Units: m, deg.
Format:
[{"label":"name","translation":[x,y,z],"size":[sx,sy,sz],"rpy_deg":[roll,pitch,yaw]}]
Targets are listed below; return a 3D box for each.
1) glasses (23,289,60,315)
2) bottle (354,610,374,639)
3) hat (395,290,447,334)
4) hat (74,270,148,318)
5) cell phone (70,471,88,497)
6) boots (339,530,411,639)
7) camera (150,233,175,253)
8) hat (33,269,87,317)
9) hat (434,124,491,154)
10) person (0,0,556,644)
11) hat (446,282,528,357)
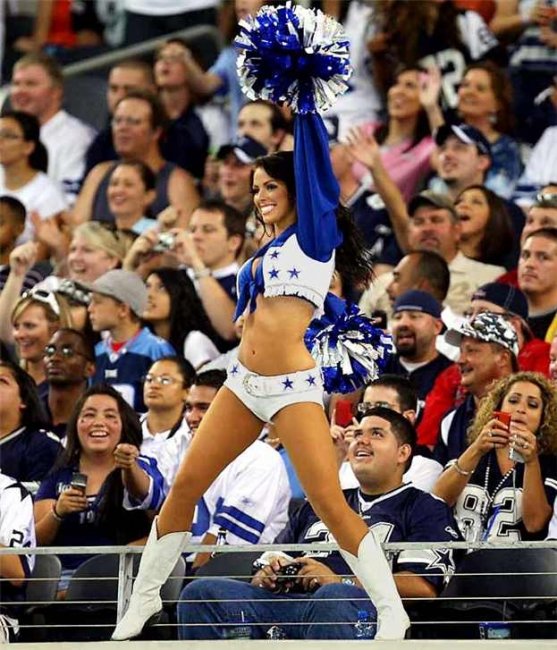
[{"label":"glasses","translation":[-1.432,-0.149,8.089],"size":[0.193,0.171,0.058],"rpy_deg":[-1,5,25]},{"label":"bottle","translation":[0.353,1.223,5.437],"size":[0.089,0.108,0.035],"rpy_deg":[2,2,2]},{"label":"hat","translation":[0.788,-0.078,7.545],"size":[0.191,0.176,0.248],"rpy_deg":[15,13,17]},{"label":"hat","translation":[-0.978,-0.206,7.819],"size":[0.361,0.194,0.224],"rpy_deg":[26,1,-23]},{"label":"cell phone","translation":[-0.943,0.744,6.211],"size":[0.088,0.102,0.114],"rpy_deg":[9,-11,-21]},{"label":"boots","translation":[0.373,1.032,5.221],"size":[0.204,0.394,0.372],"rpy_deg":[-7,-25,20]},{"label":"camera","translation":[-0.731,-0.510,8.353],"size":[0.125,0.088,0.045],"rpy_deg":[-35,2,-16]},{"label":"hat","translation":[-1.406,-0.202,8.210],"size":[0.343,0.131,0.229],"rpy_deg":[19,32,4]},{"label":"hat","translation":[1.212,-1.227,8.684],"size":[0.311,0.104,0.196],"rpy_deg":[24,-2,-24]},{"label":"person","translation":[-0.089,-0.019,5.247],"size":[1.039,2.350,1.120],"rpy_deg":[1,-24,4]},{"label":"hat","translation":[1.203,-0.082,7.346],"size":[0.517,0.228,0.283],"rpy_deg":[3,-2,-7]}]
